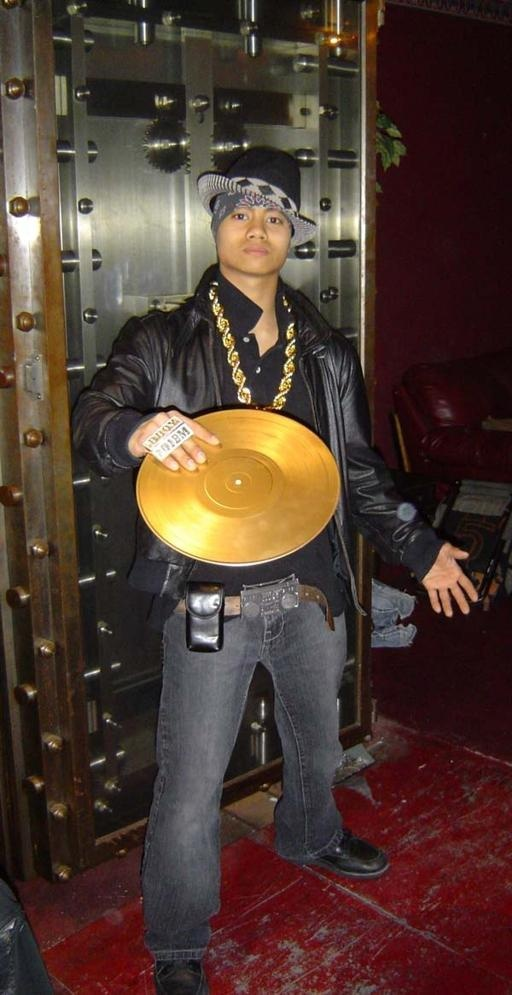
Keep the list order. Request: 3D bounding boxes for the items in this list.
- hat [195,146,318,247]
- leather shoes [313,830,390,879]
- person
[{"bbox_3d":[-0.009,-0.474,1.270,0.171,0.111,0.198,14,-16,-3],"label":"hat"},{"bbox_3d":[0.216,0.796,1.540,0.172,0.089,0.074,-1,7,20],"label":"leather shoes"},{"bbox_3d":[0.021,0.141,1.255,0.652,1.494,0.438,-7,11,-32],"label":"person"}]
